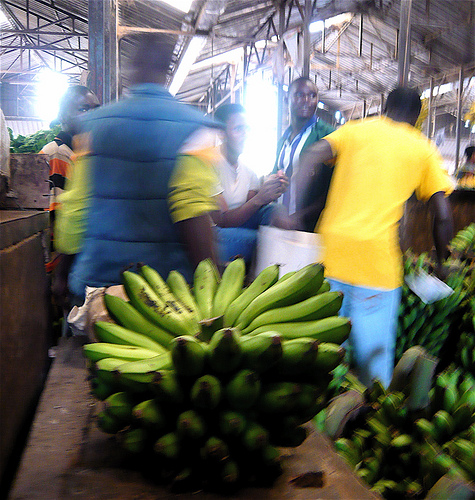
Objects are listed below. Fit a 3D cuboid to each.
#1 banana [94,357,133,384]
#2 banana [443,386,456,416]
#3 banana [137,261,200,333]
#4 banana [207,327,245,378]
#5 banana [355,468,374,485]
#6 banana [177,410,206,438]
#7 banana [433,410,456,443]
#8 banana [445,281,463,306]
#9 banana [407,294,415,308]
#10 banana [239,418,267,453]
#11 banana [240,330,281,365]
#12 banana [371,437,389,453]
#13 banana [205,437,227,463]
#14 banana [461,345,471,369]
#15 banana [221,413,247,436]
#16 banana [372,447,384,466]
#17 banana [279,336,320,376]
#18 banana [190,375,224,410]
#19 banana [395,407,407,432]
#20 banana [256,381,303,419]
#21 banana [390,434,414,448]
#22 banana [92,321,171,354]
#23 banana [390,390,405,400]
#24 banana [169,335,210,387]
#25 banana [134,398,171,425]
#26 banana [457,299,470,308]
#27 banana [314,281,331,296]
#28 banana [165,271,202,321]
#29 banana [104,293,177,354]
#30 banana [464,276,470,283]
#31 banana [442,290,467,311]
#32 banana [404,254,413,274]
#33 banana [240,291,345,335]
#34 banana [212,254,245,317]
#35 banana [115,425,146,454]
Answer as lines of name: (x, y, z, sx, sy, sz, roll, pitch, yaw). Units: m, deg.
banana: (-0.142, 0.137, 0.521, 0.021, 0.018, 0.062, -22, 5, -31)
banana: (0.334, 0.241, 0.718, 0.018, 0.037, 0.011, 5, -10, -26)
banana: (-0.102, 0.069, 0.650, 0.020, 0.033, 0.097, -32, 52, -12)
banana: (-0.013, 0.104, 0.453, 0.034, 0.056, 0.034, 4, 25, 0)
banana: (0.193, 0.340, 0.677, 0.032, 0.019, 0.022, 0, 2, -7)
banana: (-0.047, 0.179, 0.459, 0.022, 0.015, 0.029, 9, 47, -18)
banana: (0.315, 0.271, 0.691, 0.025, 0.048, 0.015, 1, -12, 2)
banana: (0.583, 0.115, 1.219, 0.030, 0.054, 0.182, 2, 2, 29)
banana: (0.445, 0.132, 1.166, 0.007, 0.025, 0.018, 14, -15, -43)
banana: (0.025, 0.202, 0.492, 0.026, 0.023, 0.058, 1, -4, 8)
banana: (0.016, 0.104, 0.490, 0.025, 0.032, 0.087, 15, -8, -19)
banana: (0.221, 0.304, 0.703, 0.019, 0.019, 0.005, 17, 1, 40)
banana: (-0.022, 0.203, 0.465, 0.022, 0.022, 0.006, 44, 21, 13)
banana: (0.513, 0.242, 1.022, 0.012, 0.046, 0.015, 17, -30, -20)
banana: (-0.004, 0.179, 0.462, 0.024, 0.020, 0.017, 0, 2, -9)
banana: (0.217, 0.320, 0.699, 0.026, 0.026, 0.007, -4, -11, 16)
banana: (0.068, 0.117, 0.506, 0.042, 0.045, 0.063, 1, 2, 9)
banana: (-0.032, 0.146, 0.469, 0.040, 0.032, 0.053, -9, -27, -3)
banana: (0.257, 0.269, 0.715, 0.020, 0.036, 0.008, -2, 4, 23)
banana: (0.043, 0.157, 0.480, 0.036, 0.029, 0.047, 7, -19, -39)
banana: (0.250, 0.291, 0.688, 0.029, 0.009, 0.017, -8, -18, -30)
banana: (-0.150, 0.115, 0.617, 0.033, 0.039, 0.122, 6, 0, 31)
banana: (0.256, 0.234, 0.726, 0.018, 0.009, 0.018, 2, 2, 40)
banana: (-0.048, 0.112, 0.461, 0.048, 0.052, 0.019, 3, 32, -4)
banana: (-0.092, 0.171, 0.479, 0.036, 0.013, 0.028, 9, 47, -24)
banana: (0.608, 0.145, 1.219, 0.016, 0.024, 0.091, 32, 19, 25)
banana: (0.117, 0.053, 0.636, 0.013, 0.025, 0.007, 41, 4, -26)
banana: (-0.082, 0.060, 0.653, 0.028, 0.035, 0.105, -17, 36, -8)
banana: (-0.136, 0.097, 0.636, 0.030, 0.045, 0.139, -2, -18, 39)
banana: (0.700, 0.089, 1.380, 0.009, 0.014, 0.041, 51, 23, 12)
banana: (0.558, 0.133, 1.169, 0.016, 0.063, 0.010, 30, -1, 28)
banana: (0.491, 0.041, 1.299, 0.012, 0.016, 0.060, 6, 47, 20)
banana: (0.070, 0.072, 0.594, 0.145, 0.052, 0.030, 1, 9, 38)
banana: (-0.010, 0.059, 0.710, 0.046, 0.056, 0.175, 38, -17, 14)
banana: (-0.116, 0.209, 0.496, 0.032, 0.025, 0.015, 8, 8, -11)
